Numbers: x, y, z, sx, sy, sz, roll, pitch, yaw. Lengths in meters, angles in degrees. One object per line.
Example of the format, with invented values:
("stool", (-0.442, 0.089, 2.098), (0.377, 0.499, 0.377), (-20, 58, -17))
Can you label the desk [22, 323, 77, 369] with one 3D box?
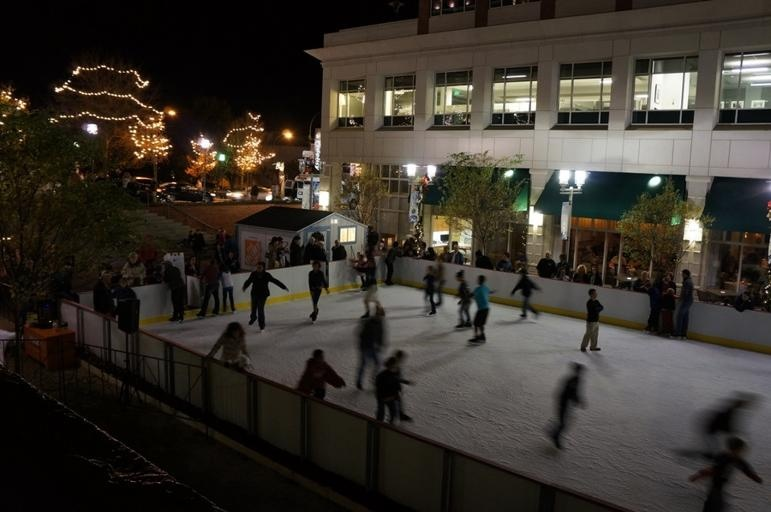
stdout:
("desk", (-10.459, 2.274, 17.629), (2.147, 1.404, 1.144), (8, 7, 44))
